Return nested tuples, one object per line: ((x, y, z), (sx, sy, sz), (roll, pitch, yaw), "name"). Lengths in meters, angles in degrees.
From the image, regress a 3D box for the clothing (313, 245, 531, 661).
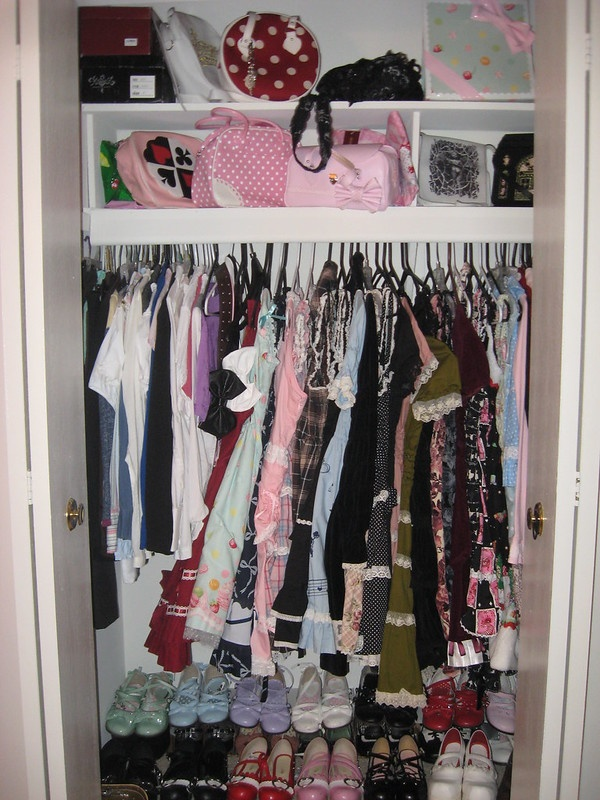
((0.351, 0.118, 1.650), (0.226, 0.893, 0.616), (4, -4, -21), "clothing")

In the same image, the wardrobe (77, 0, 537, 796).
((0.175, -0.095, 2.130), (1.116, 1.949, 0.475), (2, -4, 8), "wardrobe")

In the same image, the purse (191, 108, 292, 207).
((-0.103, -0.607, 1.705), (0.234, 0.273, 0.160), (1, 10, -24), "purse")

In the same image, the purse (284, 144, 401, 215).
((0.114, -0.541, 1.696), (0.280, 0.193, 0.250), (8, 7, 29), "purse")
